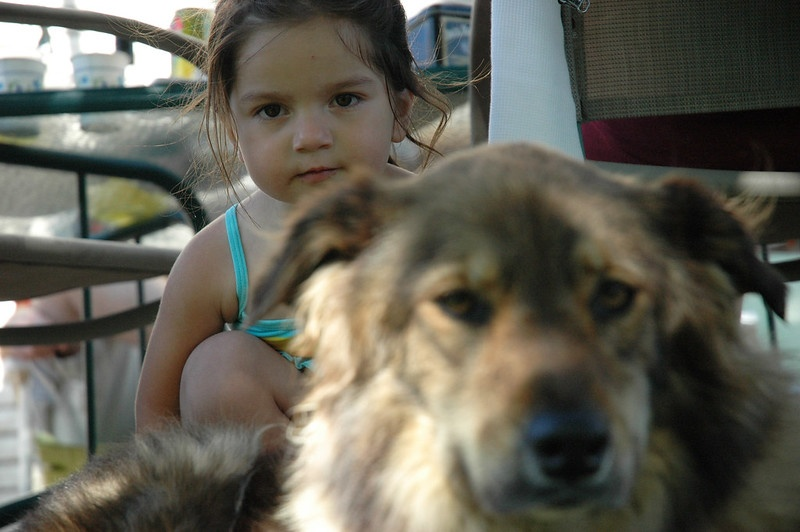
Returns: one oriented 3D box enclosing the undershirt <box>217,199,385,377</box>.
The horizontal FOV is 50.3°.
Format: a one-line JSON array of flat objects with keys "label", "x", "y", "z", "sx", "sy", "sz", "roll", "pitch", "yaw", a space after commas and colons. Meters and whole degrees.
[{"label": "undershirt", "x": -0.245, "y": 0.080, "z": 2.025, "sx": 0.283, "sy": 0.285, "sz": 0.350, "roll": 25, "pitch": -13, "yaw": 7}]
